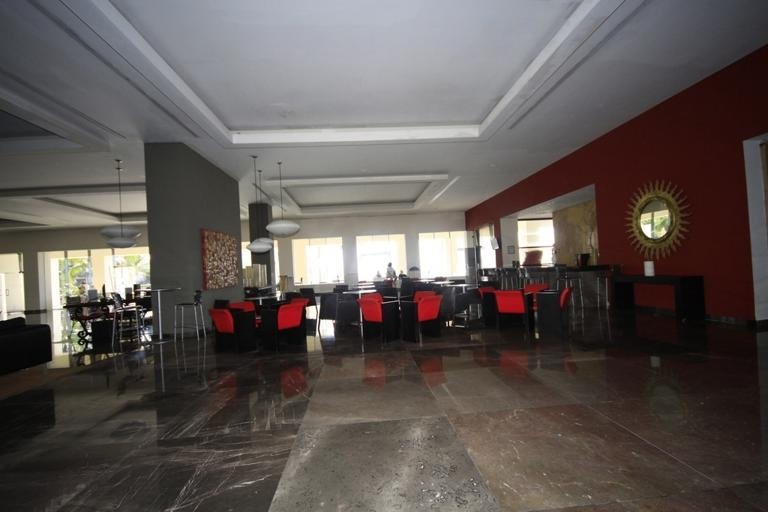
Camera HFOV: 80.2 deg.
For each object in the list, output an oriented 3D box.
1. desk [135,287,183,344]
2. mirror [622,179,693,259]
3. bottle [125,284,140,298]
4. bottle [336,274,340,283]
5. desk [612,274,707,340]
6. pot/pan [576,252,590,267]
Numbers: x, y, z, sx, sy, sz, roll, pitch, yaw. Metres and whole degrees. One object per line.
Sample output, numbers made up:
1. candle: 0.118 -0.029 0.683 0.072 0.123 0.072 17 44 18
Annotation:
1. desk: -5.296 1.330 10.912 1.098 1.334 1.029 0 3 -10
2. mirror: 6.257 -0.865 10.348 0.096 1.797 1.684 -3 -7 -20
3. bottle: -8.598 1.197 15.613 0.288 0.295 0.545 12 4 1
4. bottle: -2.205 1.080 22.034 0.208 0.306 0.078 -1 -3 6
5. desk: 6.217 0.901 10.219 0.889 1.107 2.484 -4 7 -5
6. pot/pan: 5.916 0.108 13.553 0.398 0.510 0.372 -4 -1 -30
